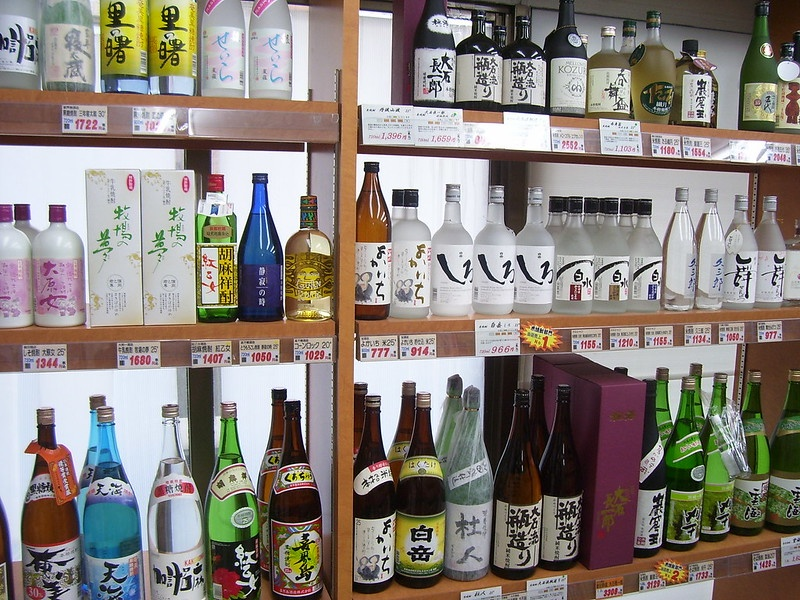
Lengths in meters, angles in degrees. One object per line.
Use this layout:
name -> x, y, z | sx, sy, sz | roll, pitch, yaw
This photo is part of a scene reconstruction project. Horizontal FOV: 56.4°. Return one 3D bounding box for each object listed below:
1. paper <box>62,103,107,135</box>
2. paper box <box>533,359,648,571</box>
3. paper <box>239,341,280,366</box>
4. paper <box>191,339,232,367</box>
paper -> -0.692, -0.396, 1.634 | 0.095, 0.053, 0.014 | -3, 2, -12
paper box -> 0.509, 0.465, 1.982 | 0.132, 0.404, 0.427 | -3, 12, -10
paper -> -0.330, 0.123, 1.733 | 0.089, 0.071, 0.053 | 1, 7, -9
paper -> -0.436, 0.124, 1.718 | 0.090, 0.072, 0.055 | 1, 6, -9
